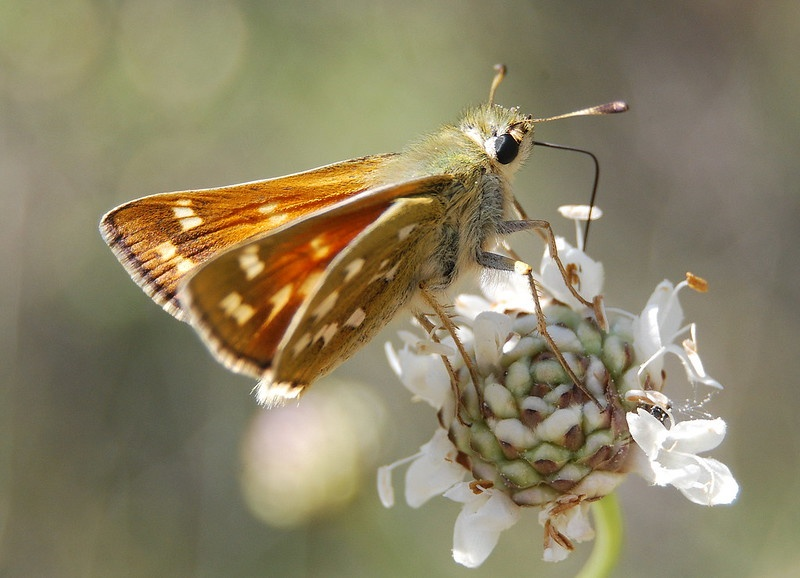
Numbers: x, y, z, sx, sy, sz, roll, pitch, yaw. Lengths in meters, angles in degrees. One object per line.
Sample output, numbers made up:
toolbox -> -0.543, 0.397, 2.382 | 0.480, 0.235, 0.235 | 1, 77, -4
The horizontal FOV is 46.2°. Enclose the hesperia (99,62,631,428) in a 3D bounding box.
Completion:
hesperia -> -0.070, -0.049, 5.156 | 2.635, 1.920, 1.479 | -23, 110, -12

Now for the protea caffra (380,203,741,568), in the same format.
protea caffra -> 0.762, 0.717, 5.489 | 1.562, 2.054, 1.531 | -18, 82, -4
